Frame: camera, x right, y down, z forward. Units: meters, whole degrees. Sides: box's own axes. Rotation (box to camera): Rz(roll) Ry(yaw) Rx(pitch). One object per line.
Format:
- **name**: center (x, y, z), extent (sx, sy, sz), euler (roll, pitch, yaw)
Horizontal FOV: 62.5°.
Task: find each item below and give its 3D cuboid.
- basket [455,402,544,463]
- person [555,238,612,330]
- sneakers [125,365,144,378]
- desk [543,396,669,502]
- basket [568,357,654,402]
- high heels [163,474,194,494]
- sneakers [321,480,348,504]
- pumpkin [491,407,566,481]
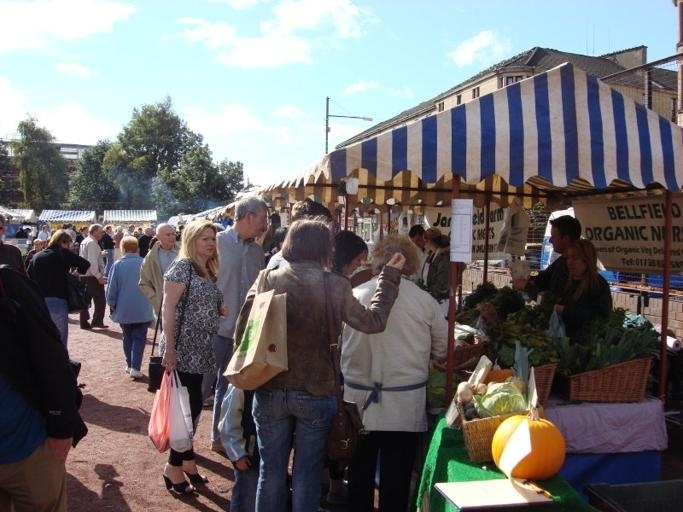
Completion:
- **basket**: center (0.870, 1.020, 3.379), extent (0.346, 0.264, 0.380), euler (-2, -2, -5)
- **person**: center (2.148, 0.267, 4.974), extent (0.448, 0.795, 0.815), euler (2, 5, 26)
- **sneakers**: center (-3.031, 1.687, 8.208), extent (0.120, 0.147, 0.303), euler (13, -8, 0)
- **desk**: center (2.104, 1.471, 4.593), extent (0.762, 0.558, 0.795), euler (0, -3, -25)
- **basket**: center (2.138, 0.959, 4.483), extent (0.525, 0.310, 0.400), euler (-5, -4, -8)
- **high heels**: center (-1.436, 2.009, 5.011), extent (0.317, 0.165, 0.122), euler (4, -2, 14)
- **sneakers**: center (-0.057, 2.102, 5.032), extent (0.267, 0.221, 0.110), euler (-1, -2, 7)
- **pumpkin**: center (1.080, 1.082, 3.247), extent (0.317, 0.349, 0.351), euler (3, 1, 3)
